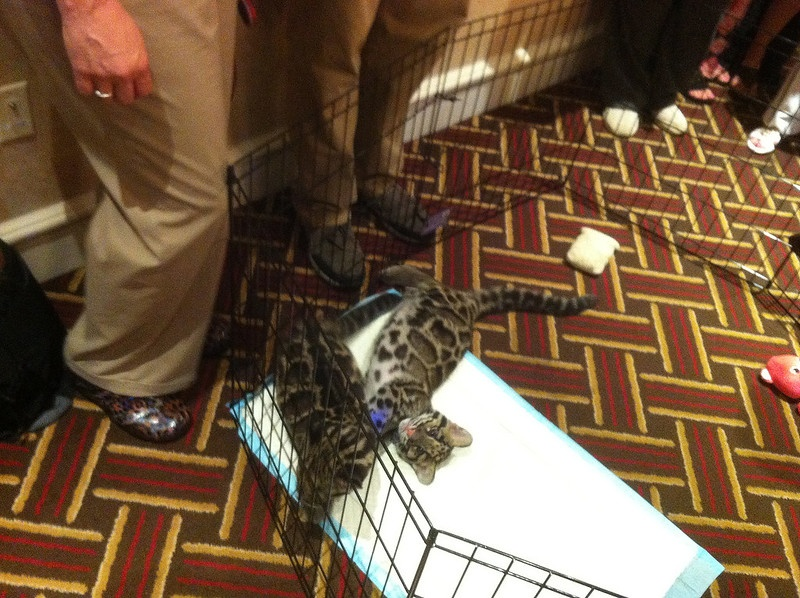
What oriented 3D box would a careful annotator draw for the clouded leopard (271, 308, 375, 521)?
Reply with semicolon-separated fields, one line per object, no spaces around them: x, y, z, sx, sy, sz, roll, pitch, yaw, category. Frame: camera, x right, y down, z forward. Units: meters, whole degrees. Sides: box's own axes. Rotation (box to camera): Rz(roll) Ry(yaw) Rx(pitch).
-0.292;0.440;2.637;0.281;0.464;0.928;-6;93;1;clouded leopard

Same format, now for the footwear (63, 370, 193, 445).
-1.032;0.444;2.905;0.540;0.219;0.219;26;85;2;footwear

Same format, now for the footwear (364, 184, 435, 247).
-0.017;-0.400;3.598;0.346;0.117;0.241;24;67;-4;footwear
